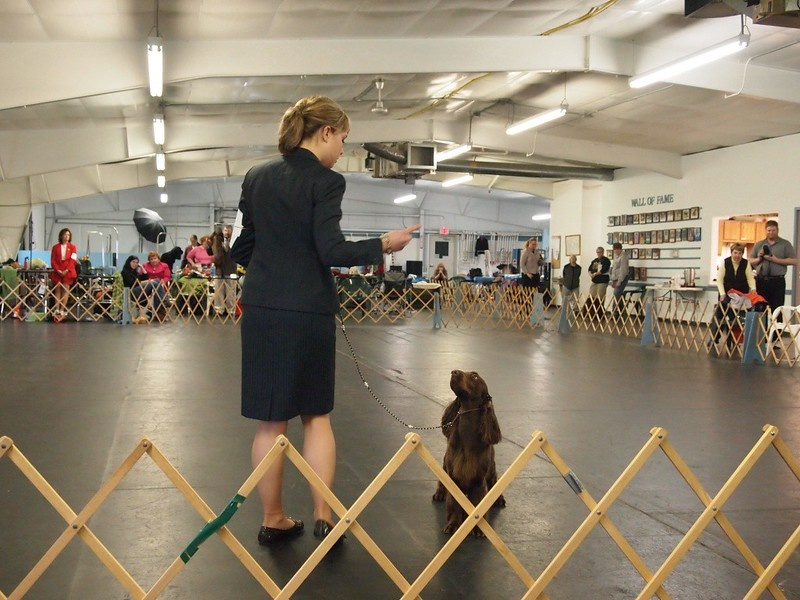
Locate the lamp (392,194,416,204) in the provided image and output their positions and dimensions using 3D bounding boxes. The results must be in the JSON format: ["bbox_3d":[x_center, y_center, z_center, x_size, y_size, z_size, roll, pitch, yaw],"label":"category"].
[{"bbox_3d":[0.117,-4.439,27.040,0.859,0.203,0.609,-11,-8,20],"label":"lamp"}]

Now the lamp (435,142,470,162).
[{"bbox_3d":[1.288,-3.848,15.891,0.725,0.174,0.498,-19,17,16],"label":"lamp"}]

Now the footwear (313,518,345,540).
[{"bbox_3d":[-0.351,1.080,2.943,0.064,0.080,0.198,-2,-6,8],"label":"footwear"}]

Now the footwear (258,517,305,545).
[{"bbox_3d":[-0.558,1.102,2.957,0.227,0.085,0.080,-11,8,-43],"label":"footwear"}]

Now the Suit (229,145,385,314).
[{"bbox_3d":[-0.432,-0.316,2.809,0.657,0.756,0.175,1,3,11],"label":"Suit"}]

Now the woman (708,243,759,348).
[{"bbox_3d":[5.292,-0.059,9.893,0.639,1.710,1.210,2,3,30],"label":"woman"}]
